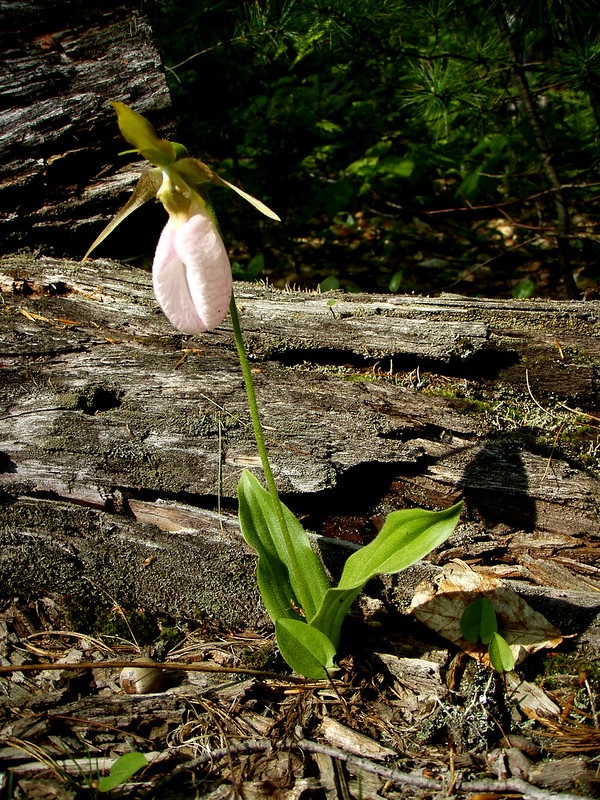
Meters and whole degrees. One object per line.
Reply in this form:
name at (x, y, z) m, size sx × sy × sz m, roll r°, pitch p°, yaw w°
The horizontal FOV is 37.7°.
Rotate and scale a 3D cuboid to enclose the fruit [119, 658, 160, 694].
fruit at (-0.689, 1.174, 3.756) m, size 0.150 × 0.129 × 0.141 m, roll -12°, pitch 14°, yaw -39°
